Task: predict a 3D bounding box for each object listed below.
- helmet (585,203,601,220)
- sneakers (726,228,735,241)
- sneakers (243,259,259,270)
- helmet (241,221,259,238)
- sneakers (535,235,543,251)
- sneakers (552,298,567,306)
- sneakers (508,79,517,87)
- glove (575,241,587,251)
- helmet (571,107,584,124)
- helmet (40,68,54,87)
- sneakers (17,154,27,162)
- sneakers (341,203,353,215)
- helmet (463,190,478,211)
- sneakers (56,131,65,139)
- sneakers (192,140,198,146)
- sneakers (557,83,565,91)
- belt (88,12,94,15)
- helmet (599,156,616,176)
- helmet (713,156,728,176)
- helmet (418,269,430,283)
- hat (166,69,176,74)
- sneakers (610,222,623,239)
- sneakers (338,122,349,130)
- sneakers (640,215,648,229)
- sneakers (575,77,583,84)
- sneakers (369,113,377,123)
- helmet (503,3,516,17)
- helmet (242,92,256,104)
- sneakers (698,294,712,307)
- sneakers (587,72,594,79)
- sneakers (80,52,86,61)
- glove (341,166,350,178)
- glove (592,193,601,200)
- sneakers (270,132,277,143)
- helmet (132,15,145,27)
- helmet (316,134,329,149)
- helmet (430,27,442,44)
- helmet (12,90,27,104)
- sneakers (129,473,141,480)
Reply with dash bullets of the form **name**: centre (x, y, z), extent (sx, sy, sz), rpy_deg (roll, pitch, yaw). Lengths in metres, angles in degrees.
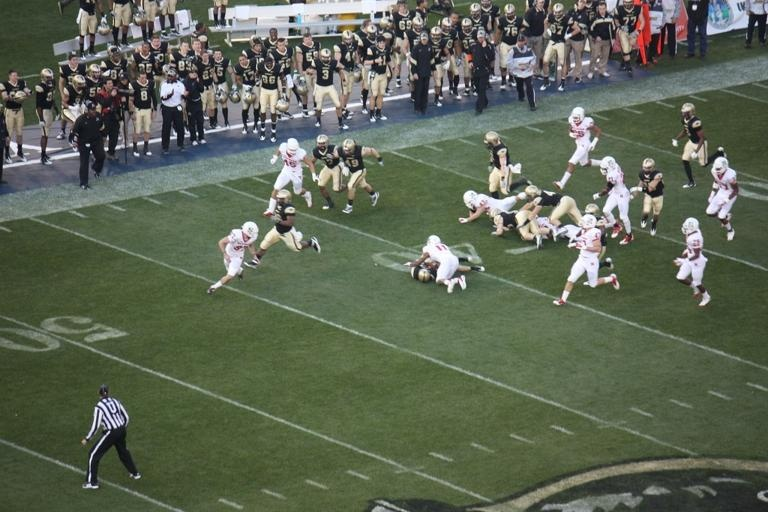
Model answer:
- **helmet**: centre (4.252, -0.927, 30.424), extent (0.408, 0.267, 0.324), rpy_deg (14, 3, -4)
- **sneakers**: centre (7.309, -0.451, 31.693), extent (0.107, 0.129, 0.305), rpy_deg (-7, 39, 52)
- **sneakers**: centre (-2.717, 0.154, 30.676), extent (0.335, 0.138, 0.140), rpy_deg (21, -2, 43)
- **helmet**: centre (-2.670, -0.510, 29.887), extent (0.282, 0.335, 0.339), rpy_deg (-3, 12, -3)
- **sneakers**: centre (3.248, -0.284, 31.464), extent (0.124, 0.300, 0.140), rpy_deg (-28, 46, -24)
- **sneakers**: centre (3.477, 0.913, 29.749), extent (0.130, 0.090, 0.238), rpy_deg (-5, 13, -36)
- **sneakers**: centre (3.265, -4.397, 38.327), extent (0.107, 0.089, 0.232), rpy_deg (-22, 28, -19)
- **glove**: centre (3.861, -0.205, 29.614), extent (0.131, 0.193, 0.321), rpy_deg (-4, 12, -4)
- **helmet**: centre (4.257, -3.137, 33.229), extent (0.370, 0.280, 0.383), rpy_deg (11, 30, 25)
- **helmet**: centre (-7.566, -4.049, 33.839), extent (0.248, 0.319, 0.428), rpy_deg (-5, 12, -11)
- **sneakers**: centre (-8.229, -2.243, 34.200), extent (0.249, 0.152, 0.186), rpy_deg (-1, 12, 5)
- **sneakers**: centre (-0.790, -1.034, 32.616), extent (0.126, 0.111, 0.270), rpy_deg (15, 21, 14)
- **helmet**: centre (1.848, -1.182, 32.080), extent (0.295, 0.454, 0.576), rpy_deg (-2, 12, 4)
- **sneakers**: centre (-7.514, -2.815, 34.999), extent (0.129, 0.121, 0.312), rpy_deg (10, 8, -8)
- **sneakers**: centre (-4.422, -2.645, 35.153), extent (0.124, 0.107, 0.088), rpy_deg (-2, 12, 3)
- **sneakers**: centre (4.454, -4.270, 37.949), extent (0.196, 0.123, 0.324), rpy_deg (0, 15, 7)
- **belt**: centre (-7.488, -6.235, 38.571), extent (0.128, 0.067, 0.029), rpy_deg (-3, 5, -33)
- **helmet**: centre (4.667, -1.884, 31.433), extent (0.310, 0.405, 0.461), rpy_deg (-3, 12, 1)
- **helmet**: centre (7.005, -1.870, 31.417), extent (0.293, 0.402, 0.289), rpy_deg (-1, 12, 8)
- **helmet**: centre (0.809, 0.398, 30.293), extent (0.215, 0.189, 0.255), rpy_deg (0, 8, -4)
- **hat**: centre (-4.845, -4.209, 34.281), extent (0.177, 0.111, 0.156), rpy_deg (-3, 1, 27)
- **sneakers**: centre (4.872, -0.541, 31.849), extent (0.155, 0.175, 0.434), rpy_deg (9, 44, 40)
- **sneakers**: centre (-0.975, -3.117, 36.035), extent (0.253, 0.100, 0.118), rpy_deg (0, 40, 0)
- **sneakers**: centre (5.524, -0.749, 32.126), extent (0.120, 0.133, 0.325), rpy_deg (7, 36, 24)
- **sneakers**: centre (4.940, -4.506, 38.274), extent (0.178, 0.148, 0.110), rpy_deg (0, 38, 3)
- **sneakers**: centre (-0.283, -3.344, 36.419), extent (0.281, 0.176, 0.094), rpy_deg (28, 48, 36)
- **helmet**: centre (3.089, -6.125, 37.365), extent (0.371, 0.325, 0.431), rpy_deg (-3, 25, 2)
- **helmet**: centre (-3.166, -3.737, 35.518), extent (0.209, 0.266, 0.372), rpy_deg (9, 16, 44)
- **sneakers**: centre (6.345, 0.837, 29.863), extent (0.201, 0.263, 0.326), rpy_deg (2, 12, 20)
- **sneakers**: centre (5.265, -4.635, 38.573), extent (0.110, 0.076, 0.183), rpy_deg (7, 44, 20)
- **sneakers**: centre (-7.752, -5.163, 38.770), extent (0.088, 0.172, 0.249), rpy_deg (-35, 67, -22)
- **glove**: centre (-0.811, -1.819, 32.371), extent (0.066, 0.181, 0.153), rpy_deg (-32, 26, -34)
- **glove**: centre (4.486, -1.247, 31.677), extent (0.203, 0.068, 0.145), rpy_deg (-21, 28, -1)
- **sneakers**: centre (-2.585, -2.784, 35.266), extent (0.154, 0.229, 0.098), rpy_deg (0, -22, -2)
- **helmet**: centre (-6.349, -6.135, 39.080), extent (0.243, 0.256, 0.273), rpy_deg (6, 6, -1)
- **helmet**: centre (-1.374, -2.449, 32.163), extent (0.328, 0.290, 0.371), rpy_deg (0, 17, 4)
- **helmet**: centre (1.243, -5.351, 36.316), extent (0.326, 0.330, 0.303), rpy_deg (-1, -24, 2)
- **helmet**: centre (-8.118, -3.556, 33.609), extent (0.267, 0.190, 0.195), rpy_deg (-22, 62, -12)
- **sneakers**: centre (-4.325, 3.856, 26.242), extent (0.234, 0.090, 0.078), rpy_deg (12, 40, 11)
